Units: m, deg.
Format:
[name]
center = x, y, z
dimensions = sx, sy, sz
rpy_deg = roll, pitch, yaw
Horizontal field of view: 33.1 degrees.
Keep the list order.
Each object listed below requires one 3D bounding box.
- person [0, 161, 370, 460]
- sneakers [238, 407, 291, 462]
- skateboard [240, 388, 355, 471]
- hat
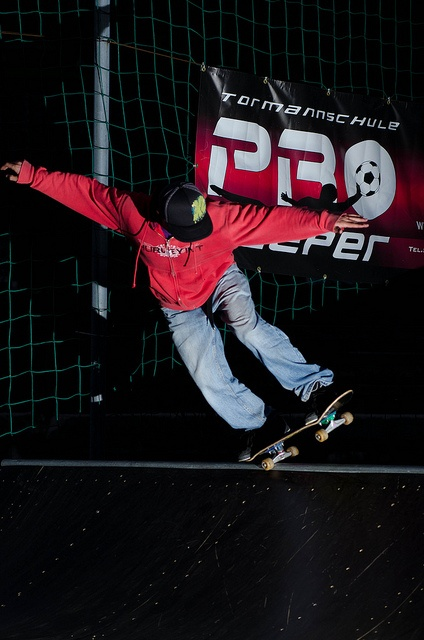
[person]
center = -0.035, 0.001, 3.351
dimensions = 1.441, 1.412, 0.352
rpy_deg = -3, 14, -6
[sneakers]
center = 0.250, 0.588, 3.516
dimensions = 0.357, 0.151, 0.140
rpy_deg = -35, -42, 30
[skateboard]
center = 0.465, 0.537, 3.455
dimensions = 0.704, 0.130, 0.267
rpy_deg = -33, -14, 13
[hat]
center = -0.111, -0.429, 3.019
dimensions = 0.185, 0.265, 0.148
rpy_deg = -24, -21, -11
